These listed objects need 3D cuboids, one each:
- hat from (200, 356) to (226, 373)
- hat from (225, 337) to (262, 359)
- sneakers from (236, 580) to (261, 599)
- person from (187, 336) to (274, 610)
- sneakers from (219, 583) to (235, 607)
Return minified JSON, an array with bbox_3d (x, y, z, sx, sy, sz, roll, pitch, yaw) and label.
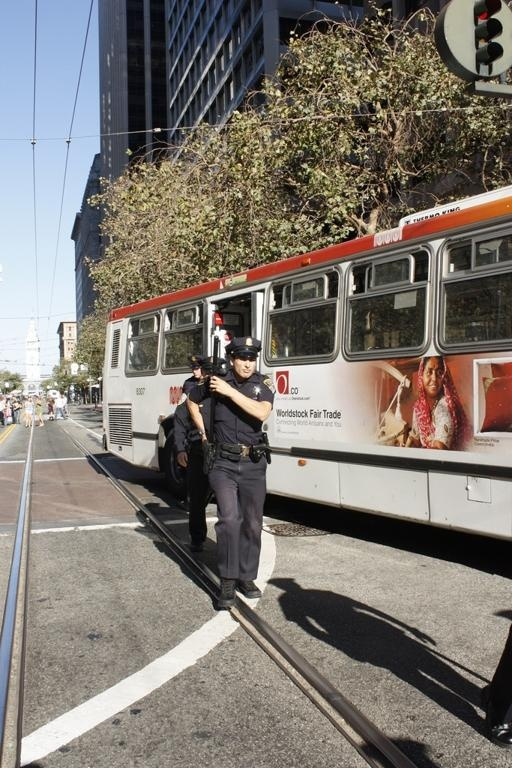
[{"bbox_3d":[-0.311,-0.158,4.745,0.208,0.096,0.234,4,-17,-9],"label":"hat"},{"bbox_3d":[-0.103,-0.250,4.233,0.273,0.144,0.167,0,3,19],"label":"hat"},{"bbox_3d":[-0.045,1.467,4.347,0.081,0.095,0.223,3,-13,-31],"label":"sneakers"},{"bbox_3d":[-0.132,0.611,4.380,0.496,1.877,0.709,-1,3,-5],"label":"person"},{"bbox_3d":[-0.199,1.437,4.146,0.115,0.150,0.162,-1,3,-2],"label":"sneakers"}]
